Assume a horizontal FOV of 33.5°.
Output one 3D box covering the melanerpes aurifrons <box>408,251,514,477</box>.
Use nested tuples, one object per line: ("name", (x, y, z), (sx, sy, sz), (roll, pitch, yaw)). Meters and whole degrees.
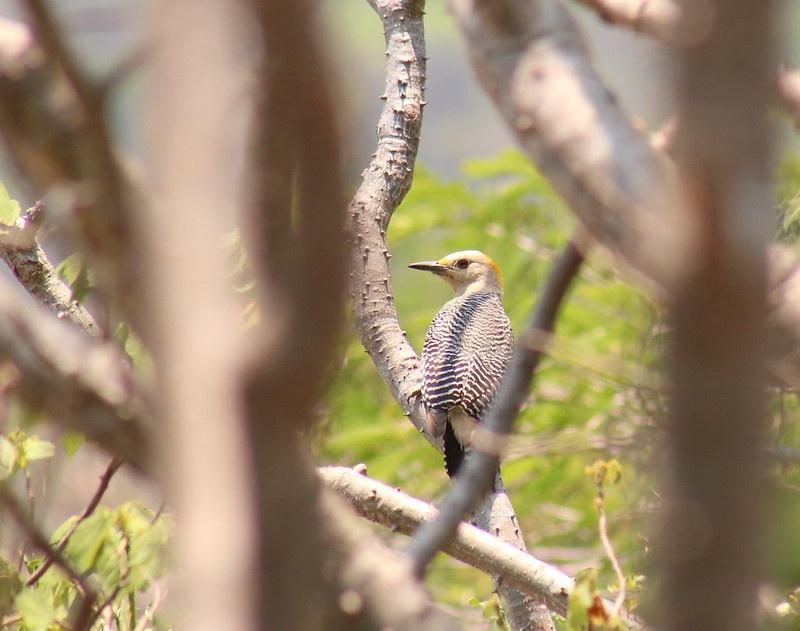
("melanerpes aurifrons", (0.257, 0.202, 5.619), (0.589, 0.944, 0.337), (10, -48, 10))
